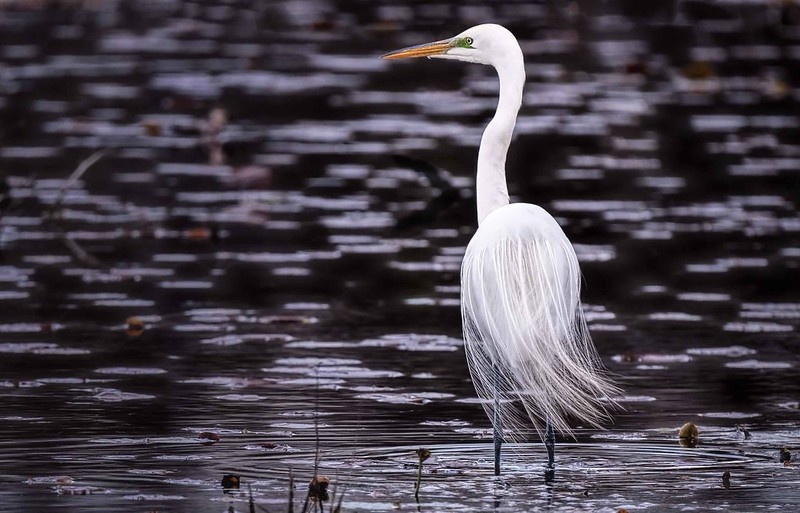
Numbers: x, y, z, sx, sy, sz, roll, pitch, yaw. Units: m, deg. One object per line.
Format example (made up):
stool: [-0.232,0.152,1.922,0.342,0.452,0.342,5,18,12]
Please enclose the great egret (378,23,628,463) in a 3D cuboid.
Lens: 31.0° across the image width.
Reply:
great egret: [1.030,-0.134,12.541,1.494,3.905,0.950,-1,-5,0]
